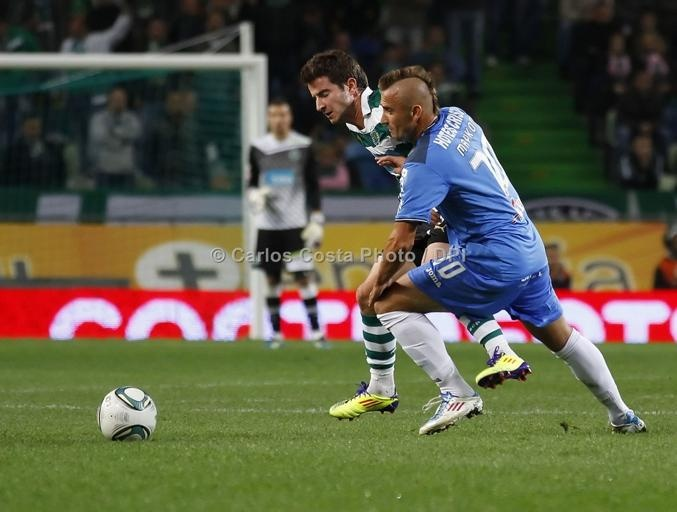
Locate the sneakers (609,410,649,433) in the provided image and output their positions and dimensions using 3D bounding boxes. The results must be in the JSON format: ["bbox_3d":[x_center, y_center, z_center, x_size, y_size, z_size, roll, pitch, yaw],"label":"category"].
[{"bbox_3d":[2.044,1.171,7.898,0.253,0.150,0.126,-3,0,-8],"label":"sneakers"}]

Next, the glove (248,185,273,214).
[{"bbox_3d":[-0.833,-0.595,11.472,0.271,0.217,0.239,-1,1,-26],"label":"glove"}]

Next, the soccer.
[{"bbox_3d":[-1.448,1.114,7.820,0.355,0.344,0.348,8,-12,1],"label":"soccer"}]

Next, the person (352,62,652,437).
[{"bbox_3d":[1.020,0.110,7.754,1.580,2.216,0.456,-3,8,-10],"label":"person"}]

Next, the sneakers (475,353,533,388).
[{"bbox_3d":[1.136,0.795,7.696,0.350,0.236,0.239,0,8,5],"label":"sneakers"}]
